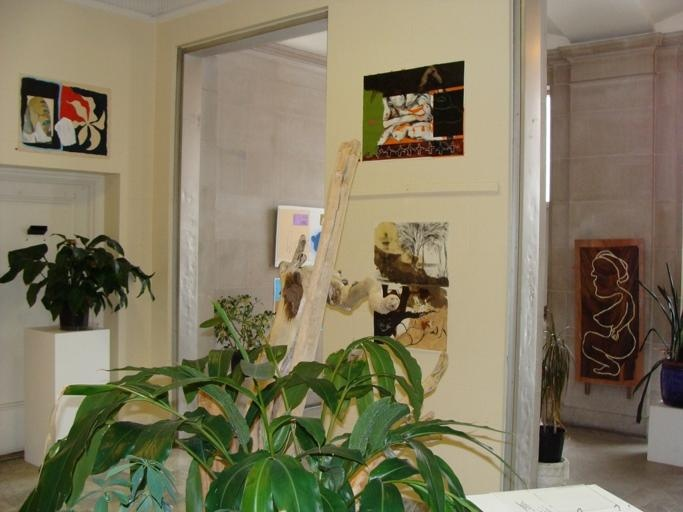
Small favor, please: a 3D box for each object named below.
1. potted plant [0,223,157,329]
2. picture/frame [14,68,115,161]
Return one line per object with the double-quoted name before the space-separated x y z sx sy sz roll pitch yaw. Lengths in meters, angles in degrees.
"potted plant" -1.941 0.187 3.990 0.960 0.691 0.672 0 2 -19
"picture/frame" -2.097 -1.061 3.984 0.029 0.555 0.689 3 4 45
